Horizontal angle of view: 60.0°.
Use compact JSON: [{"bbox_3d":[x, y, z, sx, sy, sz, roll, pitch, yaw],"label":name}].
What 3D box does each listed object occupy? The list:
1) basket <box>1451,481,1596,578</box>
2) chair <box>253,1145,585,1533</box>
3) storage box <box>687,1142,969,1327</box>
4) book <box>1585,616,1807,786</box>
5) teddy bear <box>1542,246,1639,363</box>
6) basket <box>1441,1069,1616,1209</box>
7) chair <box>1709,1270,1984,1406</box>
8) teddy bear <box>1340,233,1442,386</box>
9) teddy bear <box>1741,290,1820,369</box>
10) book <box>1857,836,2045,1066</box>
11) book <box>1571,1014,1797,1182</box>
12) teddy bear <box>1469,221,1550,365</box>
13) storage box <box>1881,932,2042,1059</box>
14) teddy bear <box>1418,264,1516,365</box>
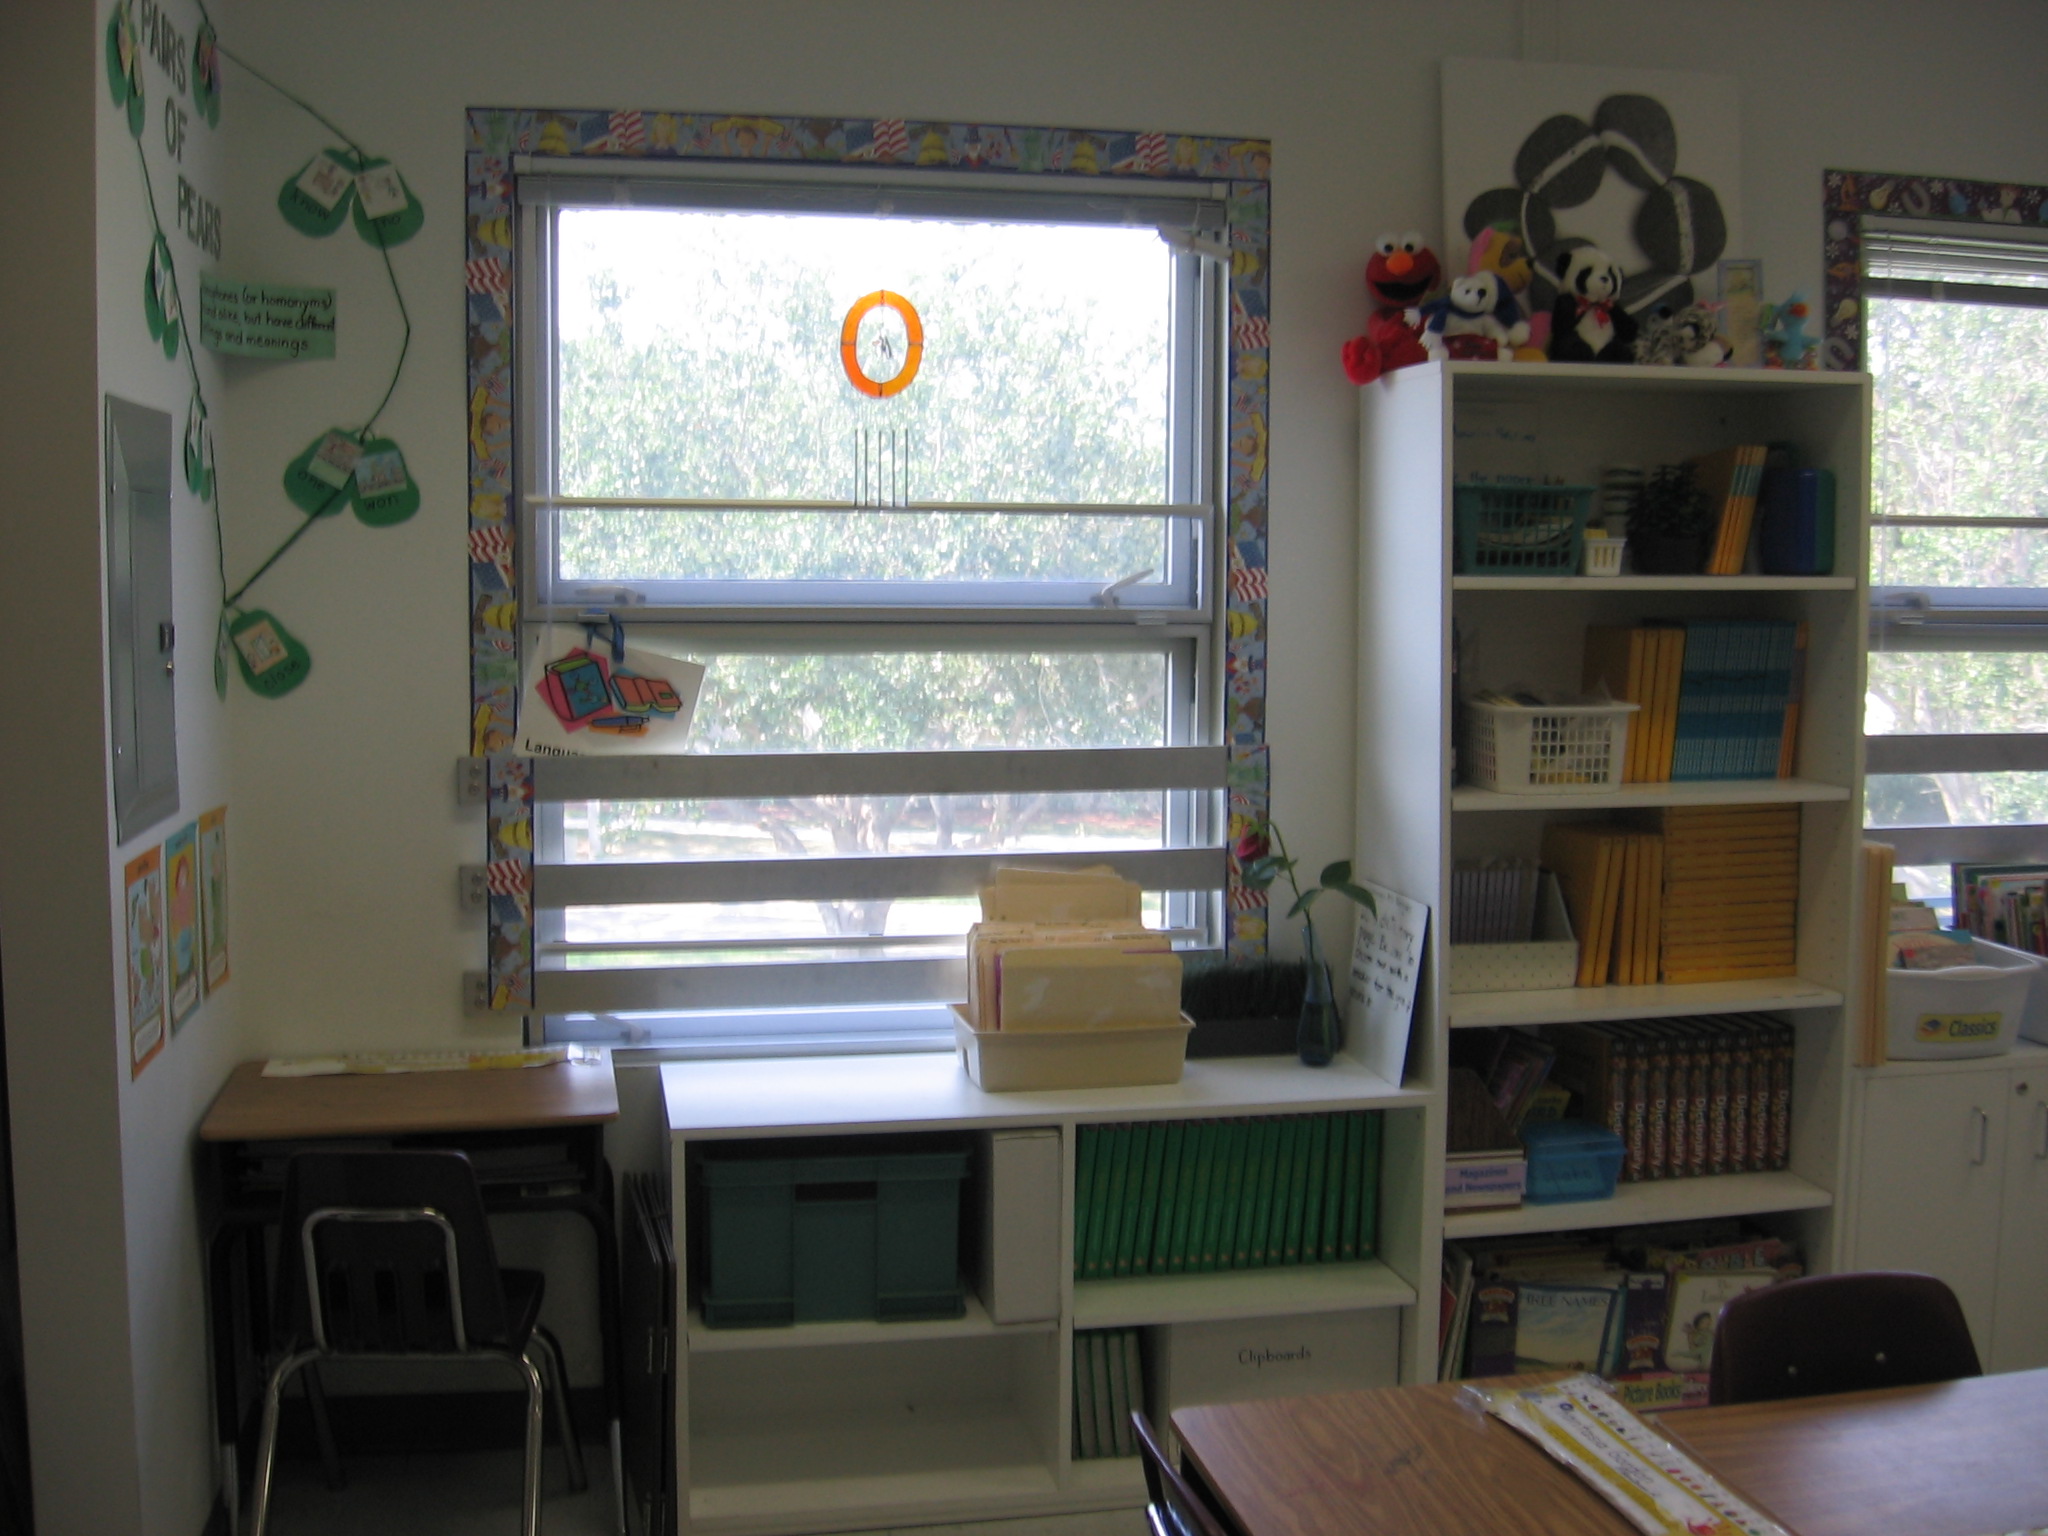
[{"bbox_3d":[1.084,-0.512,3.851,0.252,0.172,0.190,1,0,-3],"label":"basket"},{"bbox_3d":[-1.234,1.136,3.585,0.632,0.900,0.671,-3,5,-20],"label":"chair"},{"bbox_3d":[-0.401,0.964,3.650,0.386,0.265,0.413,-1,0,-2],"label":"storage box"},{"bbox_3d":[1.523,-0.160,4.082,0.319,0.488,0.476,0,1,-7],"label":"book"},{"bbox_3d":[1.266,-1.032,3.985,0.196,0.269,0.168,-1,8,-8],"label":"teddy bear"},{"bbox_3d":[1.109,0.839,3.923,0.309,0.117,0.325,-4,6,-25],"label":"basket"},{"bbox_3d":[1.351,0.929,2.977,0.255,0.370,0.293,-1,-12,-1],"label":"chair"},{"bbox_3d":[0.825,-1.016,3.961,0.202,0.327,0.167,0,-3,-11],"label":"teddy bear"},{"bbox_3d":[1.742,-1.006,4.064,0.118,0.217,0.429,0,5,26],"label":"teddy bear"},{"bbox_3d":[2.096,0.437,4.095,0.357,0.357,0.584,0,-1,0],"label":"book"},{"bbox_3d":[1.527,0.716,4.232,0.444,0.364,0.449,-2,7,0],"label":"book"},{"bbox_3d":[1.076,-1.060,3.963,0.188,0.320,0.210,11,35,35],"label":"teddy bear"},{"bbox_3d":[2.127,0.506,4.061,0.243,0.163,0.337,0,-4,5],"label":"storage box"},{"bbox_3d":[0.966,-0.990,3.868,0.248,0.186,0.158,-1,5,16],"label":"teddy bear"}]
